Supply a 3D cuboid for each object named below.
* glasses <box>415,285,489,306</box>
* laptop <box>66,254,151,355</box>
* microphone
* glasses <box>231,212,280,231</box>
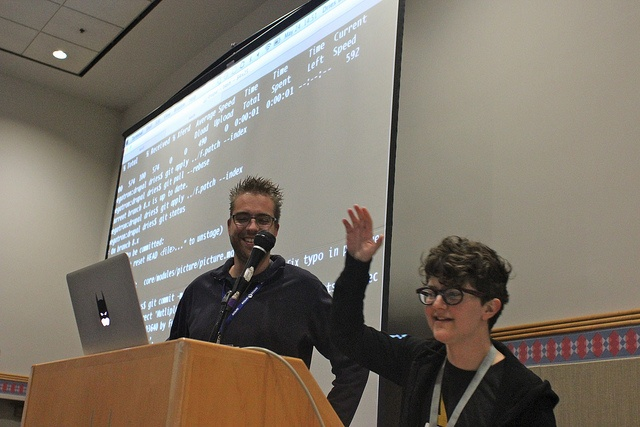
[{"bbox_3d":[0.505,0.312,2.078,0.214,0.078,0.048,-8,-11,17],"label":"glasses"},{"bbox_3d":[-0.769,0.332,1.952,0.409,0.327,0.108,-14,-14,40],"label":"laptop"},{"bbox_3d":[-0.272,0.225,2.128,0.194,0.318,0.267,-3,-11,-2],"label":"microphone"},{"bbox_3d":[-0.318,0.034,2.628,0.212,0.078,0.069,-3,-11,-7],"label":"glasses"}]
